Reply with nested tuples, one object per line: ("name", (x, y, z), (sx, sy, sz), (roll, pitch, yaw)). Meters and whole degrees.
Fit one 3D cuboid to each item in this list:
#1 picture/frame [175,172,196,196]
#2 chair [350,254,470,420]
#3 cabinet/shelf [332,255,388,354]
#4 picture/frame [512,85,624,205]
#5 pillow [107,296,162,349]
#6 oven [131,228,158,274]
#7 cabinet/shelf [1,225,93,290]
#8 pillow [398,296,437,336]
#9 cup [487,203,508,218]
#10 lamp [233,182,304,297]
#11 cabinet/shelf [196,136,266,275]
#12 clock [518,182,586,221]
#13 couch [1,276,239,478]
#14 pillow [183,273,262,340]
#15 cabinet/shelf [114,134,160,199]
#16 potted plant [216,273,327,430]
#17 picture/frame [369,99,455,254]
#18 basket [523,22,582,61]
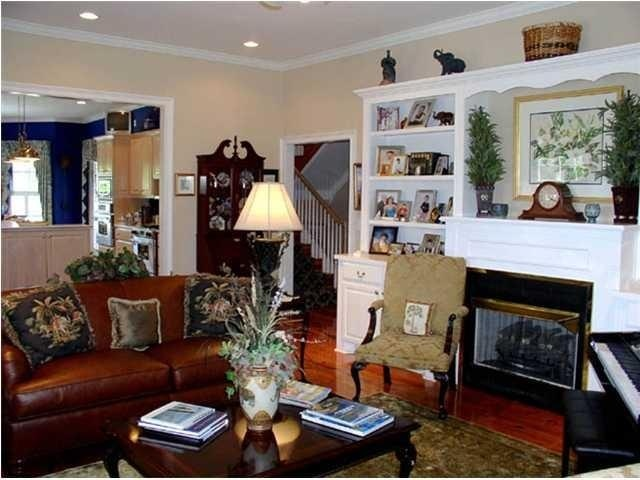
("picture/frame", (-1.950, -0.804, 6.614), (0.331, 0.301, 0.034), (-10, 14, -31))
("chair", (0.862, 0.799, 4.246), (0.900, 1.198, 1.032), (2, 5, 26))
("cabinet/shelf", (0.629, 0.759, 5.473), (0.759, 1.187, 0.630), (7, 10, 41))
("picture/frame", (2.297, -0.875, 4.213), (0.055, 1.355, 1.204), (-2, 4, -42))
("pillow", (-1.545, 0.692, 3.795), (0.426, 0.407, 0.153), (-2, -12, -34))
("oven", (-3.126, 0.185, 8.291), (0.306, 0.767, 1.368), (-1, 5, -29))
("cabinet/shelf", (-3.729, 0.230, 6.176), (0.925, 0.822, 0.367), (-3, 5, -42))
("pillow", (0.931, 0.732, 4.363), (0.342, 0.366, 0.144), (0, -24, 32))
("cup", (1.726, -0.287, 4.493), (0.148, 0.109, 0.151), (1, 9, 0))
("lamp", (-0.470, -0.041, 4.215), (0.676, 0.935, 0.642), (1, 3, -7))
("cabinet/shelf", (-1.322, -0.295, 7.026), (1.000, 2.301, 0.351), (-5, 19, -25))
("clock", (2.085, -0.351, 4.152), (0.177, 0.344, 0.544), (-6, 8, -33))
("couch", (-1.739, 0.850, 3.626), (2.282, 1.069, 1.084), (-3, 5, -39))
("pillow", (-0.932, 0.592, 4.151), (0.619, 0.666, 0.188), (-1, -29, -25))
("cabinet/shelf", (-3.604, -1.501, 9.086), (0.497, 1.226, 1.471), (-3, 5, -44))
("potted plant", (-0.353, 0.645, 2.729), (0.431, 0.861, 0.521), (-10, -16, 30))
("picture/frame", (1.048, -0.747, 5.296), (1.091, 1.716, 0.367), (5, 5, 39))
("basket", (2.104, -1.768, 4.186), (0.429, 0.254, 0.431), (2, 6, 38))
